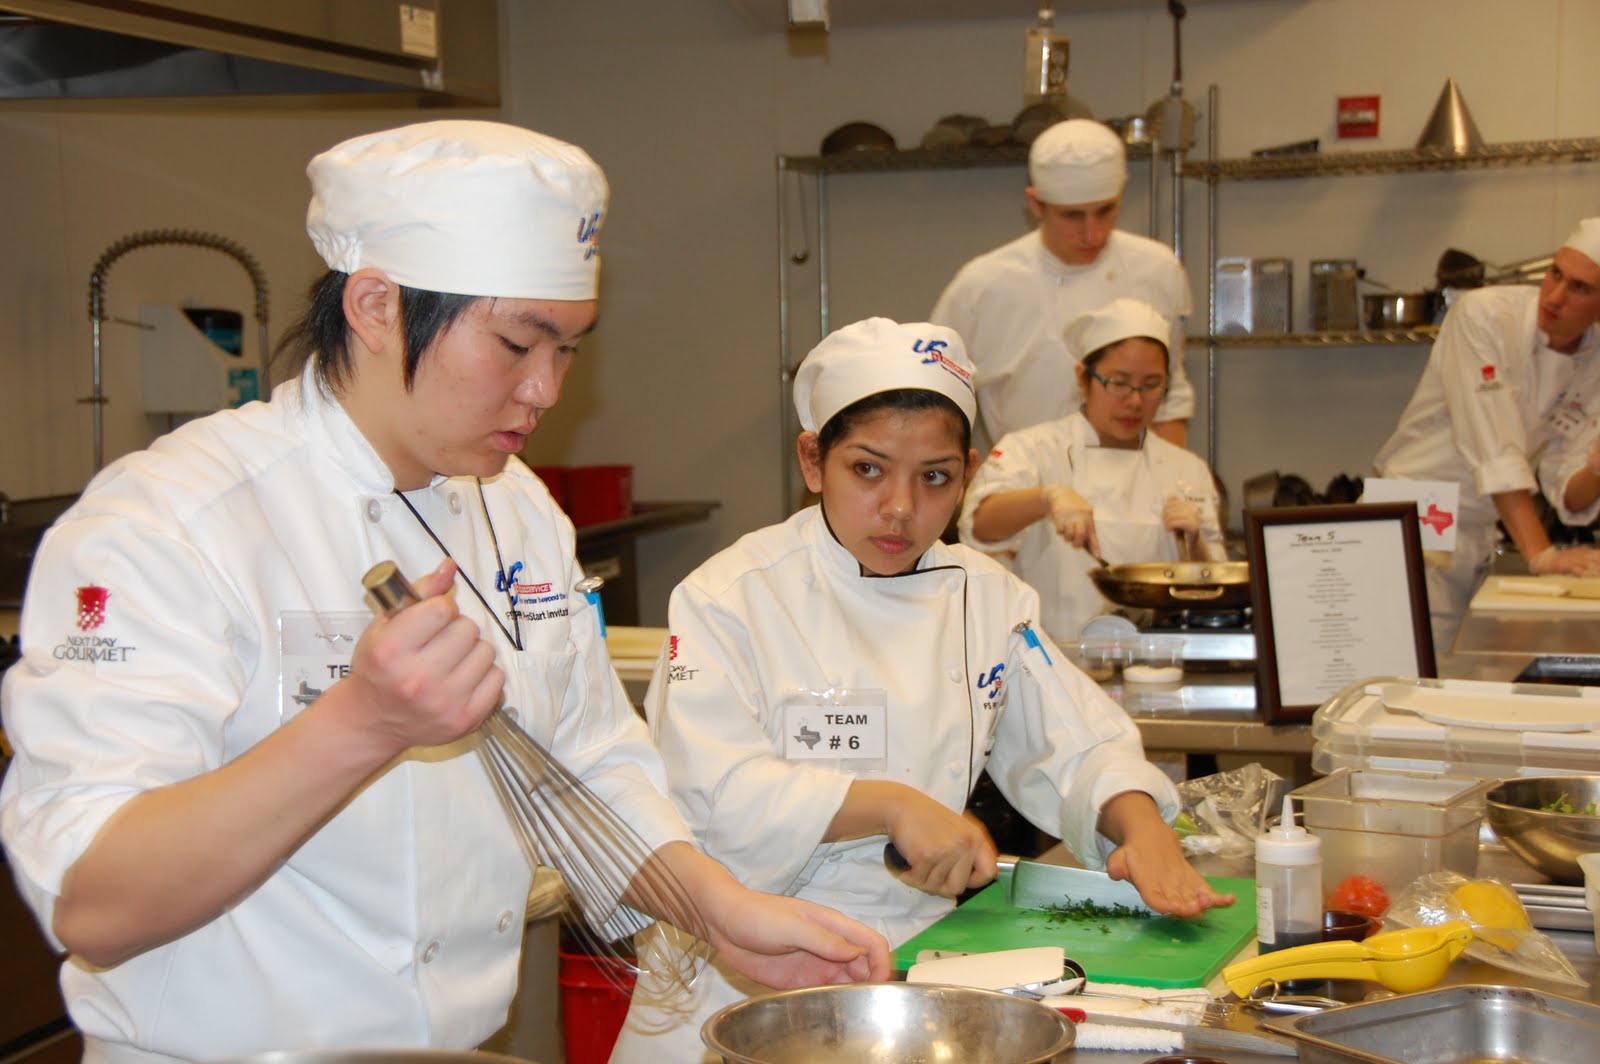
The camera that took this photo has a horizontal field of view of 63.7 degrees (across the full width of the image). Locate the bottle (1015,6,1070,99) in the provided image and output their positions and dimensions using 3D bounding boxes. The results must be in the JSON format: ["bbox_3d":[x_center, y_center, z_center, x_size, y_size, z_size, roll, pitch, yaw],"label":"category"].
[{"bbox_3d":[0.680,-1.344,3.572,0.110,0.282,0.294,-2,5,10],"label":"bottle"}]

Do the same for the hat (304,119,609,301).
[{"bbox_3d":[-0.406,-0.351,1.498,0.282,0.154,0.215,2,4,18],"label":"hat"}]

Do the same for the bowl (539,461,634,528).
[{"bbox_3d":[-0.883,-0.164,5.312,0.336,0.346,0.336,-1,2,0],"label":"bowl"}]

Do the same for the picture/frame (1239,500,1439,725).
[{"bbox_3d":[1.018,0.156,2.428,0.412,0.516,0.052,-2,-8,-3],"label":"picture/frame"}]

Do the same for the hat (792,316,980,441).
[{"bbox_3d":[0.113,-0.257,2.091,0.194,0.127,0.241,5,-20,-23],"label":"hat"}]

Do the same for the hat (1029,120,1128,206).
[{"bbox_3d":[0.792,-1.048,3.672,0.244,0.197,0.257,1,18,6],"label":"hat"}]

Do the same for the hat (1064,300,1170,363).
[{"bbox_3d":[0.810,-0.514,3.356,0.178,0.114,0.232,1,-20,-15],"label":"hat"}]
